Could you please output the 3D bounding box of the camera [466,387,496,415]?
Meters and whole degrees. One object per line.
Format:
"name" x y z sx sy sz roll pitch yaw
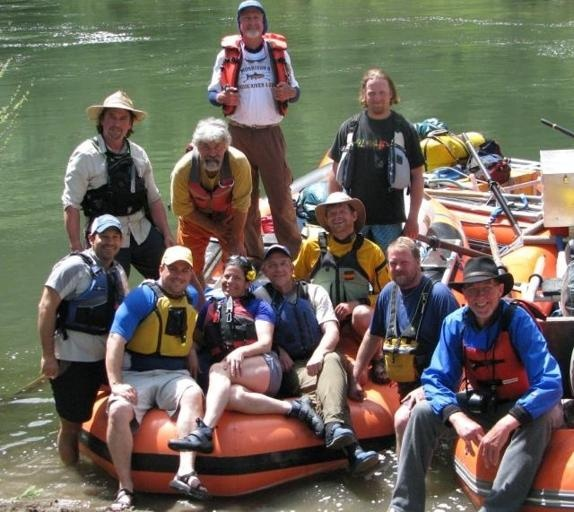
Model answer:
"camera" 1.300 0.953 5.300 0.157 0.141 0.158 -1 -3 38

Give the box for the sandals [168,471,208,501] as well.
"sandals" -0.657 1.581 5.532 0.273 0.166 0.159 6 17 36

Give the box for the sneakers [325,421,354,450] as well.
"sneakers" 0.391 1.296 5.776 0.217 0.198 0.173 -2 14 6

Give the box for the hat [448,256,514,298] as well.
"hat" 1.361 0.099 5.441 0.323 0.134 0.354 -7 -20 16

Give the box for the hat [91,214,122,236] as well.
"hat" -1.385 -0.226 6.111 0.210 0.162 0.280 -7 13 -15

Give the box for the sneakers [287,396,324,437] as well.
"sneakers" 0.167 1.177 5.975 0.400 0.130 0.177 37 17 22

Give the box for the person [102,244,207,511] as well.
"person" -0.971 0.831 5.872 0.736 1.673 0.860 -5 14 -6
